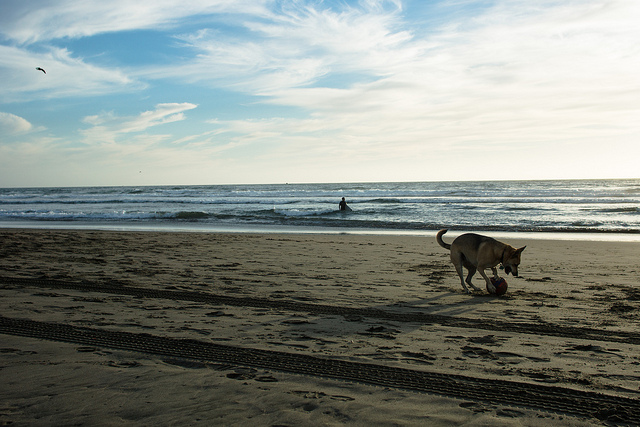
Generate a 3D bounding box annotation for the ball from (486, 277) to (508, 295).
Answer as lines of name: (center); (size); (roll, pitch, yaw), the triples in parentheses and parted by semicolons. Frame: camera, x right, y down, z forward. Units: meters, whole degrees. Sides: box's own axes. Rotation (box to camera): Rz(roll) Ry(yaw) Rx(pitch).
ball: (3.713, 1.535, 11.133); (0.484, 0.328, 0.340); (-2, 41, -20)
